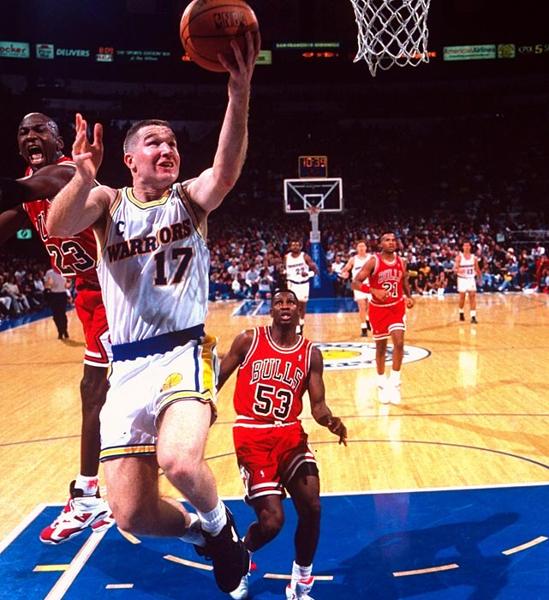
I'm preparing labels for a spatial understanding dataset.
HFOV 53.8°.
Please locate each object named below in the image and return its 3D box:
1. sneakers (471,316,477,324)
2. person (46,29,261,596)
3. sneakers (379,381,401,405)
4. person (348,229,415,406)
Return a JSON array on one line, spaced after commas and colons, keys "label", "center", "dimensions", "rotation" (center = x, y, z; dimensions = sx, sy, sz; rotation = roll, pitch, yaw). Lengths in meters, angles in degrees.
[{"label": "sneakers", "center": [4.227, 0.410, 11.473], "dimensions": [0.121, 0.163, 0.358], "rotation": [2, 8, 20]}, {"label": "person", "center": [-0.403, 0.190, 1.936], "dimensions": [0.702, 2.227, 0.598], "rotation": [0, 7, -2]}, {"label": "sneakers", "center": [1.163, 0.951, 5.498], "dimensions": [0.208, 0.220, 0.129], "rotation": [1, 7, 12]}, {"label": "person", "center": [1.215, 0.147, 6.054], "dimensions": [0.614, 1.761, 1.370], "rotation": [2, 7, 14]}]
